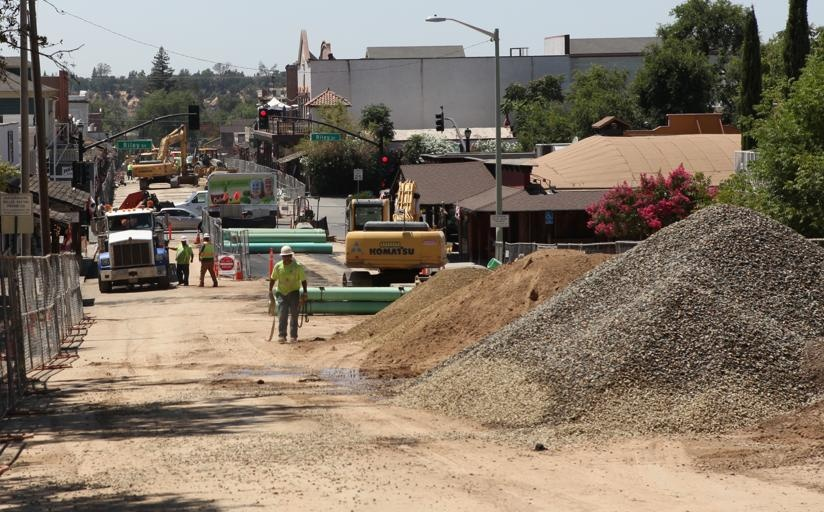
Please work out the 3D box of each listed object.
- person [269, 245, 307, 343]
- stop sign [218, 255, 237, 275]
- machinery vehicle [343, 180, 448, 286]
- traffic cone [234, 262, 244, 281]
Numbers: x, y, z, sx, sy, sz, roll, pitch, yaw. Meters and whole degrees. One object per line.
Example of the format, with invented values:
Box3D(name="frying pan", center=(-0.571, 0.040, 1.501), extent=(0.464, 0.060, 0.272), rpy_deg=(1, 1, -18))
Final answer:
Box3D(name="person", center=(-3.488, 1.087, 33.032), extent=(0.969, 2.672, 1.280), rpy_deg=(0, 0, -14))
Box3D(name="stop sign", center=(-7.921, 0.372, 48.619), extent=(0.817, 0.923, 0.126), rpy_deg=(-1, -4, -2))
Box3D(name="machinery vehicle", center=(-0.725, -0.598, 42.962), extent=(3.193, 3.368, 4.937), rpy_deg=(0, 0, -2))
Box3D(name="traffic cone", center=(-7.381, 0.708, 48.200), extent=(0.347, 0.673, 1.038), rpy_deg=(-4, 14, -9))
